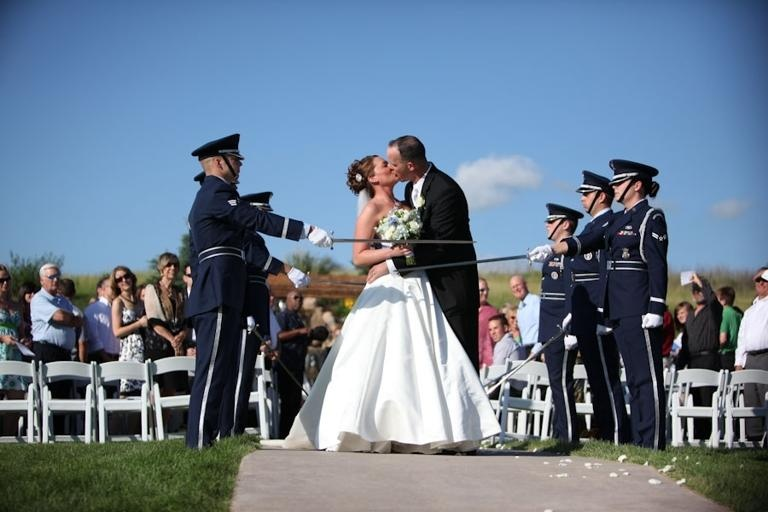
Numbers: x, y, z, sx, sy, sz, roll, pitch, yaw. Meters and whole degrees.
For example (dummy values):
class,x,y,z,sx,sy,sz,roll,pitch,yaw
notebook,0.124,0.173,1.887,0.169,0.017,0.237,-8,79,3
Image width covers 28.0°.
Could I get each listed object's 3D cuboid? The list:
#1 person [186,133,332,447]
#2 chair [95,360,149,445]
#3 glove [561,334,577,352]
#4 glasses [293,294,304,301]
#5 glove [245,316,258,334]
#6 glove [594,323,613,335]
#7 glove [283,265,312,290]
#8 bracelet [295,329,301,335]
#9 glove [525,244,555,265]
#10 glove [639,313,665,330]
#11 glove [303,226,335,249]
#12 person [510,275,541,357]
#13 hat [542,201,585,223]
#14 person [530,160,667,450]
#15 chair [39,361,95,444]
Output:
class,x,y,z,sx,sy,sz,roll,pitch,yaw
person,-1.718,0.305,17.852,1.173,3.723,1.501,0,14,-6
chair,-3.338,1.845,19.707,0.647,0.919,0.669,-2,3,-10
glove,2.369,1.082,19.675,0.184,0.178,0.153,0,3,-1
glasses,-1.324,0.626,23.950,0.134,0.105,0.131,4,-36,-14
glove,-1.695,0.859,19.567,0.120,0.202,0.201,0,32,-5
glove,2.802,0.917,19.534,0.160,0.118,0.146,4,-7,-24
glove,-1.005,0.217,18.590,0.168,0.241,0.351,-43,32,-19
bracelet,-1.310,1.132,23.312,0.057,0.076,0.018,6,8,-1
glove,1.762,-0.026,17.229,0.265,0.106,0.198,-16,11,-4
glove,3.185,0.751,18.308,0.255,0.229,0.154,5,15,12
glove,-0.746,-0.226,17.532,0.321,0.317,0.402,0,14,-4
person,2.077,0.897,22.685,0.474,1.421,0.512,0,-30,0
hat,2.109,-0.507,18.115,0.636,0.247,0.547,1,-4,-9
person,3.043,0.523,18.633,1.486,3.222,1.087,14,19,41
chair,-4.054,1.824,19.788,0.695,1.003,0.733,0,4,-5
